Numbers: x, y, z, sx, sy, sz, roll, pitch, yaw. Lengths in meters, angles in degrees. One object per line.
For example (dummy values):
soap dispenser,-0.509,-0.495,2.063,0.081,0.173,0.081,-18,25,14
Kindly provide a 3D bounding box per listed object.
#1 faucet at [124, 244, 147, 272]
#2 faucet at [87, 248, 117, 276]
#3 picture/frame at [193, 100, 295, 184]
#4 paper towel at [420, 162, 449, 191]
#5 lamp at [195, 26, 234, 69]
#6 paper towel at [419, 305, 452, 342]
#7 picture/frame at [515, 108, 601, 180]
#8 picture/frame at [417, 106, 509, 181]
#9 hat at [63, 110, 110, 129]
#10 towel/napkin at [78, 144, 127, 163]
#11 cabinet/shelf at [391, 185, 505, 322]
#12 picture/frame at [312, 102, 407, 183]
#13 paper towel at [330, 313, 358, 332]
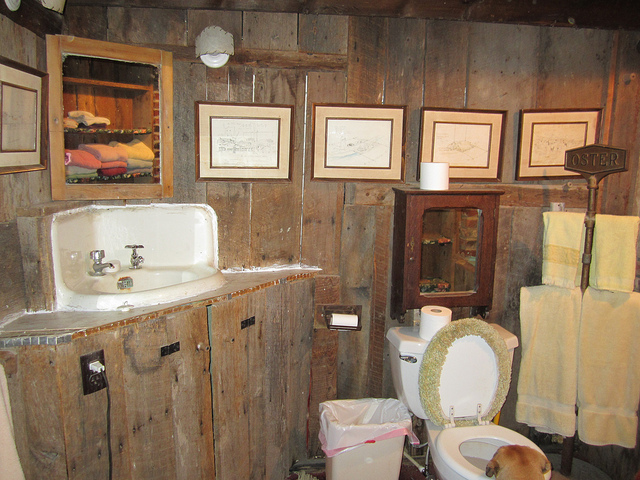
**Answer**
faucet,-0.913,0.078,2.686,0.107,0.165,0.113,8,10,28
faucet,-1.044,0.105,2.578,0.134,0.099,0.087,-4,10,-25
picture/frame,-0.407,-0.517,2.762,0.416,0.340,0.020,0,9,-10
paper towel,0.592,-0.325,2.762,0.150,0.142,0.139,1,7,5
lamp,-0.510,-0.928,2.612,0.189,0.168,0.160,-1,7,-11
paper towel,0.580,0.399,2.691,0.144,0.151,0.156,3,9,17
picture/frame,1.299,-0.540,2.938,0.381,0.340,0.038,-1,10,-6
picture/frame,0.751,-0.531,2.902,0.410,0.317,0.016,0,7,-9
hat,-1.106,-0.567,2.565,0.194,0.091,0.129,-2,7,-25
towel/napkin,-1.040,-0.427,2.613,0.122,0.045,0.125,18,22,26
cabinet/shelf,0.640,0.051,2.796,0.670,0.950,0.357,-1,6,-8
picture/frame,0.193,-0.531,2.850,0.400,0.312,0.018,1,6,-7
paper towel,0.126,0.432,2.883,0.120,0.088,0.056,3,-5,-6
